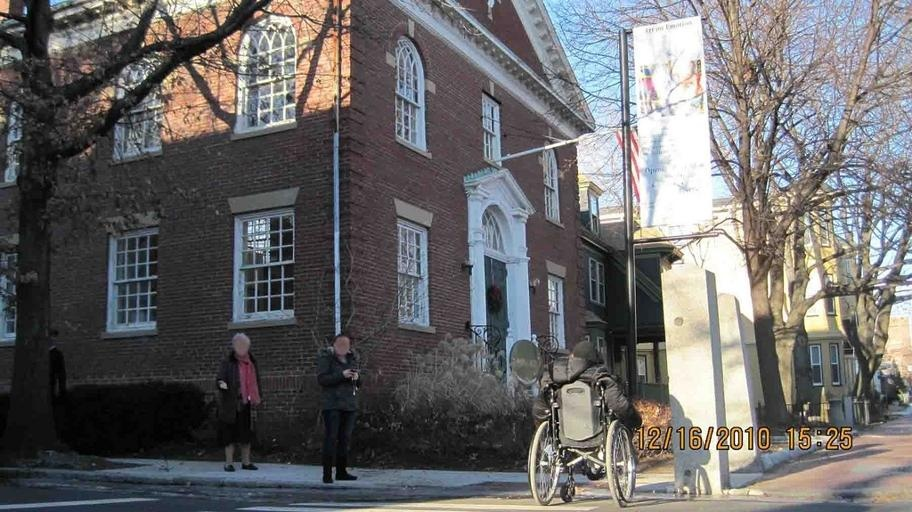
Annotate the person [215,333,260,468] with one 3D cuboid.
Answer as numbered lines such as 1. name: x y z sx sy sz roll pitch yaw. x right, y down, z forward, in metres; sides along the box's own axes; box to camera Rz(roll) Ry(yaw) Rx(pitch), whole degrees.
1. person: -5.555 3.652 23.827 1.154 3.141 1.433 2 -5 -27

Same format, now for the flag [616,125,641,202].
1. flag: 4.663 -2.477 24.384 0.431 2.323 1.459 -5 -16 11

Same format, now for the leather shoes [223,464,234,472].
1. leather shoes: -5.750 5.354 23.247 0.245 0.167 0.376 2 -16 -15

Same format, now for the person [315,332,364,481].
1. person: -2.927 3.711 22.583 1.136 3.321 1.209 -4 -7 39

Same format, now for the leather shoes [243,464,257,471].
1. leather shoes: -5.296 5.391 23.525 0.364 0.137 0.145 3 -9 0
